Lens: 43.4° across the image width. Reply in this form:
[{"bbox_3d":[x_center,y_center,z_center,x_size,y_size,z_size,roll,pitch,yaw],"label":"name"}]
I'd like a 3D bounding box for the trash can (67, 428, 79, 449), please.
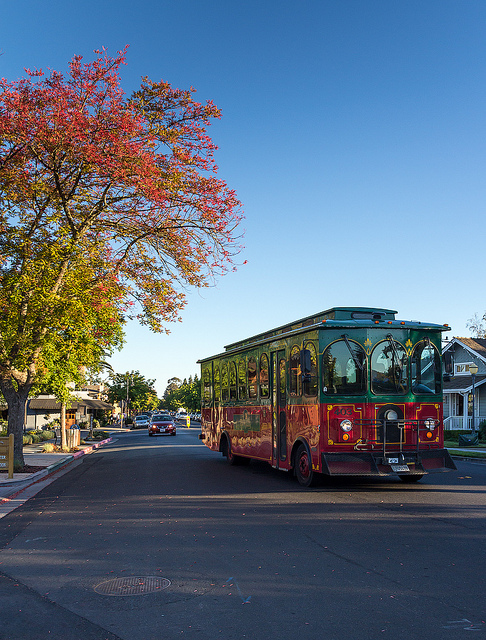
[{"bbox_3d":[-8.591,5.967,30.926,0.603,1.087,1.098,0,-2,-7],"label":"trash can"}]

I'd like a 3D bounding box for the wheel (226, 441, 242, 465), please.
[{"bbox_3d":[-0.306,4.132,19.081,0.342,1.012,0.991,-2,10,-10],"label":"wheel"}]

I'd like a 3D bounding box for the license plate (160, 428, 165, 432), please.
[{"bbox_3d":[-6.328,8.598,47.855,0.357,0.208,0.249,-3,-11,-14],"label":"license plate"}]

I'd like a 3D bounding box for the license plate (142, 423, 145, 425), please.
[{"bbox_3d":[-12.456,12.962,76.503,0.319,0.299,0.170,3,-24,-12],"label":"license plate"}]

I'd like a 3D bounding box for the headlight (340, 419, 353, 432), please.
[{"bbox_3d":[1.940,2.041,11.810,0.198,0.203,0.048,2,-7,-21],"label":"headlight"}]

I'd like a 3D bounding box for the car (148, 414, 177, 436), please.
[{"bbox_3d":[-6.457,8.331,48.693,1.943,1.690,2.034,1,-10,-6],"label":"car"}]

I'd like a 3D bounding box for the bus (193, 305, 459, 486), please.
[{"bbox_3d":[1.571,2.142,16.575,3.249,3.604,9.991,2,-9,-16],"label":"bus"}]

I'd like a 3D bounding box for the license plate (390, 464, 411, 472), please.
[{"bbox_3d":[2.970,2.859,11.817,0.418,0.140,0.138,7,-12,-35],"label":"license plate"}]

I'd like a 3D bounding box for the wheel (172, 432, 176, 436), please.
[{"bbox_3d":[-5.401,8.889,47.793,0.281,0.282,0.154,3,-16,-16],"label":"wheel"}]

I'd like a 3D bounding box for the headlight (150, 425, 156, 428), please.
[{"bbox_3d":[-7.047,8.324,47.917,0.307,0.226,0.210,-3,-8,-3],"label":"headlight"}]
